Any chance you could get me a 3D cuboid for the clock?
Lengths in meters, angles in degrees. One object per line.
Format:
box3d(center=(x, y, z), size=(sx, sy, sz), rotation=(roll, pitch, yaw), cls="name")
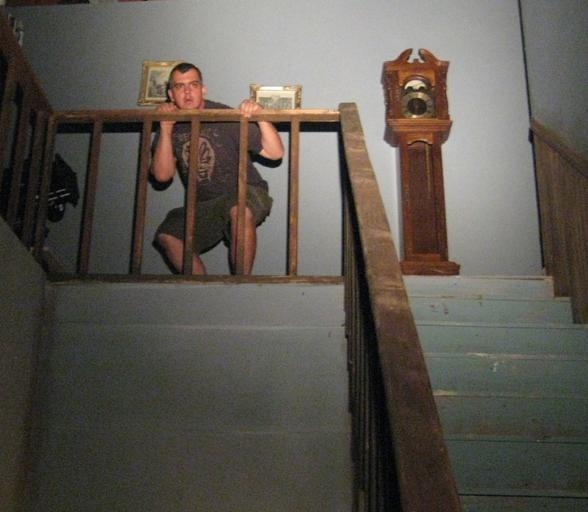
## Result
box3d(center=(0.725, -0.601, 3.152), size=(0.409, 1.307, 0.909), rotation=(1, 6, 9), cls="clock")
